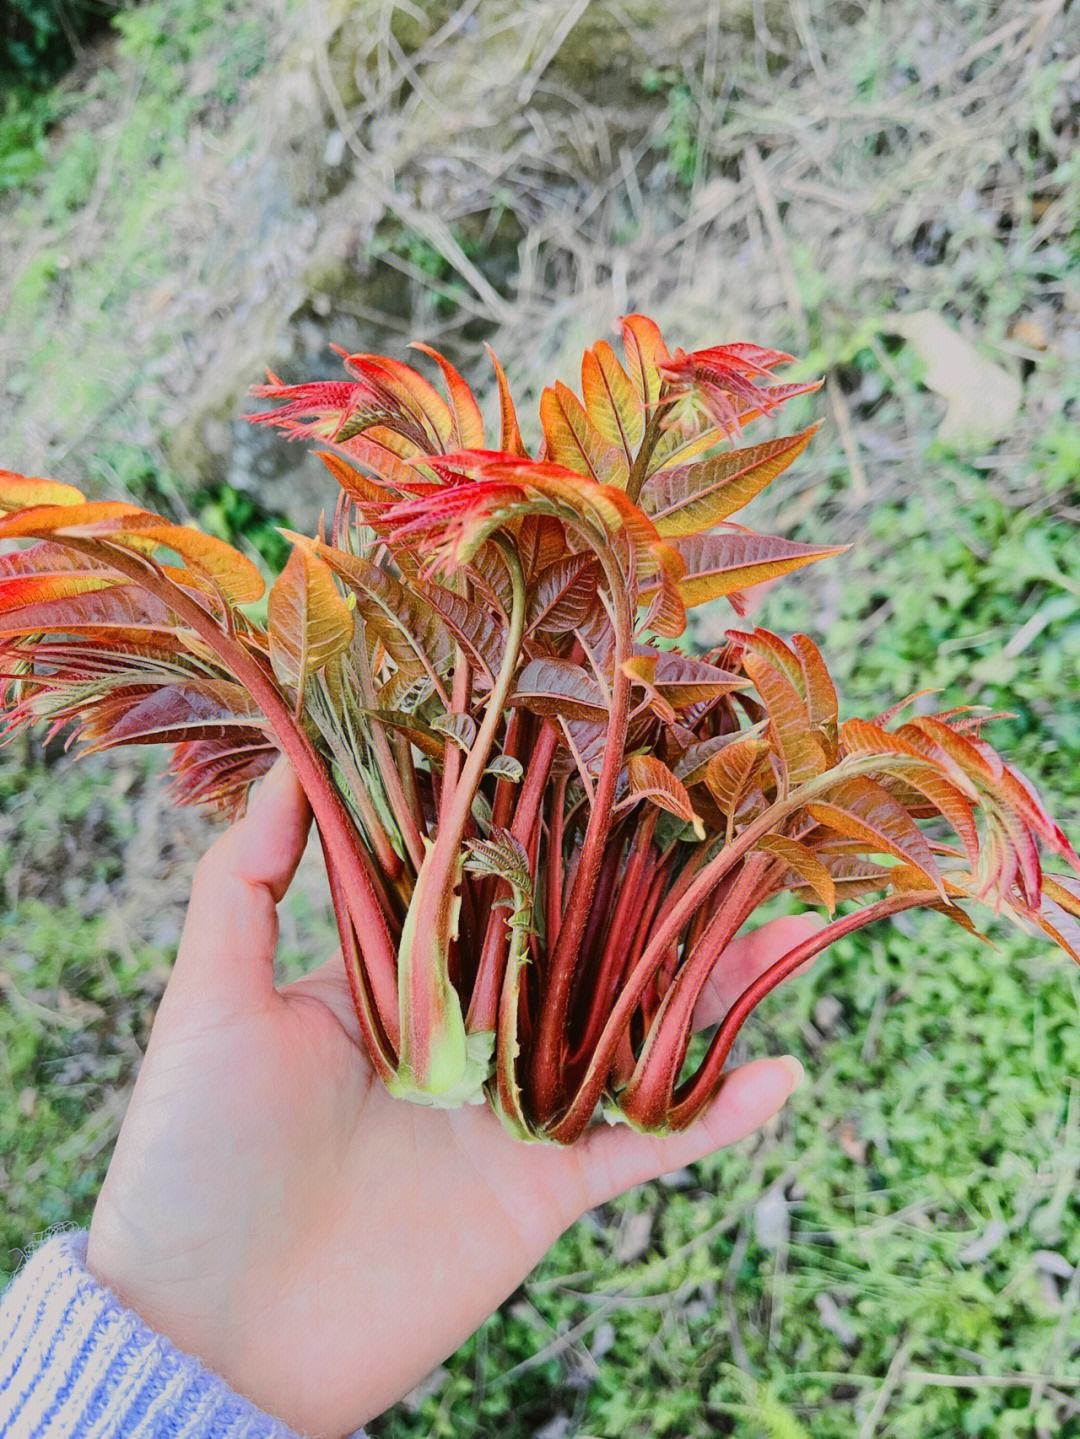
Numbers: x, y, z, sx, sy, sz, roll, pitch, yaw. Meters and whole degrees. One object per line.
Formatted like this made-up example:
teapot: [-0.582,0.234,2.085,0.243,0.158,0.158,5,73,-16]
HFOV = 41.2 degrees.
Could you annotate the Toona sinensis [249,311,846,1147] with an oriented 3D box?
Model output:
Toona sinensis: [0.086,-0.003,1.799,0.831,0.415,0.928,-3,92,38]
